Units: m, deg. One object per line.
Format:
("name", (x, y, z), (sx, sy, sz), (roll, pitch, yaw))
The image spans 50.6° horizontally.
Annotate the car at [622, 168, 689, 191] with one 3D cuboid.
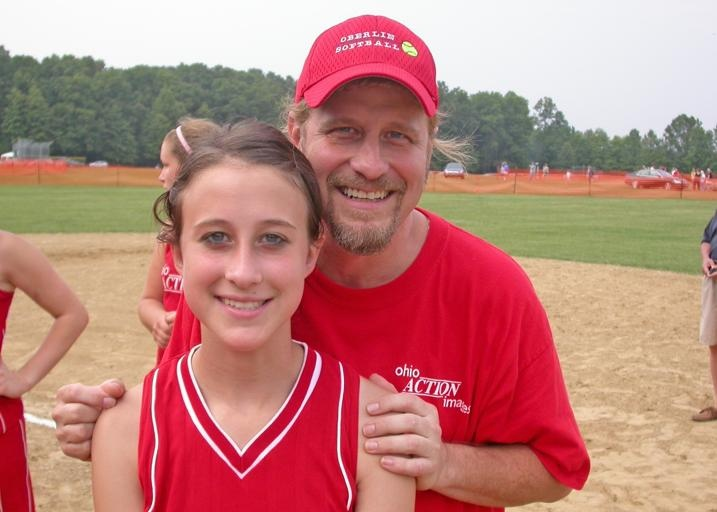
("car", (14.893, -3.501, 37.433), (3.247, 1.250, 1.607), (1, 10, 11))
